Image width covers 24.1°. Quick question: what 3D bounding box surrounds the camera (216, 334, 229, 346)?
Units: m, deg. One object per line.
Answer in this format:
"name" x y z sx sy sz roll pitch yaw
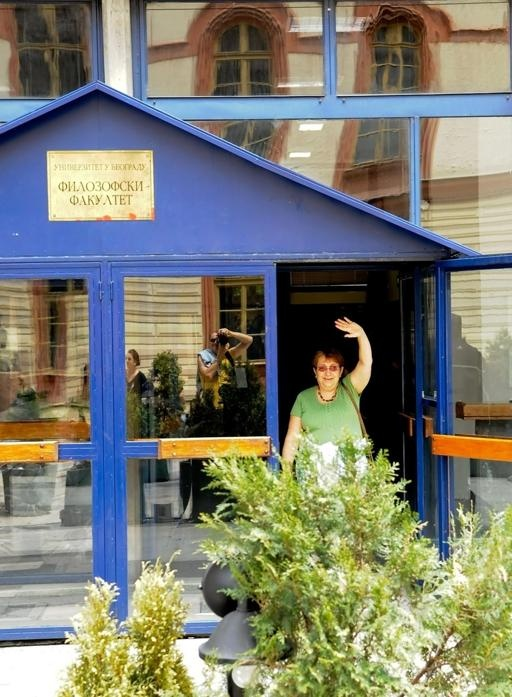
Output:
"camera" -0.178 -0.048 6.224 0.053 0.057 0.053 19 18 -18

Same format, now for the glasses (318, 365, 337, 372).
"glasses" 0.375 0.103 6.255 0.082 0.031 0.018 -2 -2 -2
